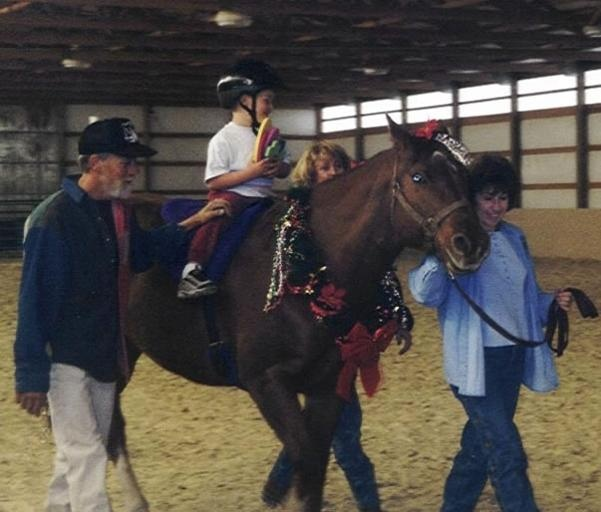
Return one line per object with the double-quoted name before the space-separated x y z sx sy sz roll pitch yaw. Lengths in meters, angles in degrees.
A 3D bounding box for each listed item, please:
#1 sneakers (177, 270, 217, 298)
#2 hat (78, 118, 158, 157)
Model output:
"sneakers" -0.844 0.245 13.396 0.393 0.157 0.159 -9 -13 41
"hat" -1.457 -0.969 13.439 0.654 0.244 0.384 4 13 8
